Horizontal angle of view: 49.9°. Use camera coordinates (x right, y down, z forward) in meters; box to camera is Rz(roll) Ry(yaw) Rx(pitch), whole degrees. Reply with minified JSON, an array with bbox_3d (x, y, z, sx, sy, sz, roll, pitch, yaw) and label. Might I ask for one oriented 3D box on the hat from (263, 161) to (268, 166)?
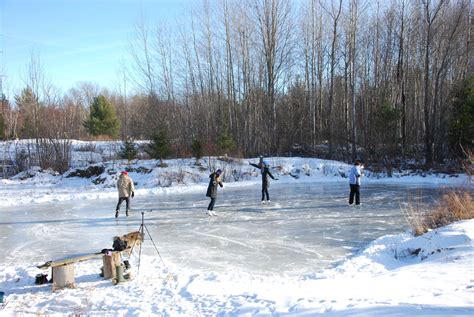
[{"bbox_3d":[1.928,0.349,35.024,0.284,0.352,0.429,5,-13,18],"label":"hat"}]
